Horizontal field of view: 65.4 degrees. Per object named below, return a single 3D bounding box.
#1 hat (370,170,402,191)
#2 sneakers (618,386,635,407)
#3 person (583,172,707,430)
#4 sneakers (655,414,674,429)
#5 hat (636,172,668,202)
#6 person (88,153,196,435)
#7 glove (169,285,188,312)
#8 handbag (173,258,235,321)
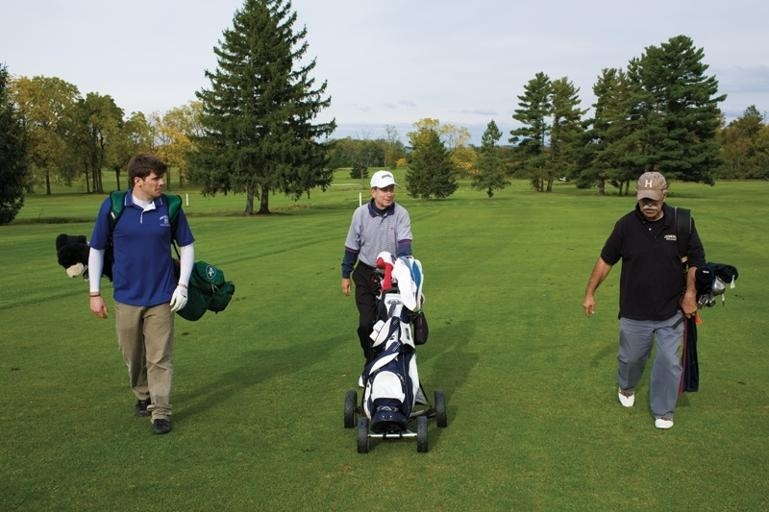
[{"bbox_3d":[-0.043,-0.967,7.566,0.245,0.196,0.331,-3,3,-17],"label":"hat"},{"bbox_3d":[3.035,1.772,7.541,0.130,0.254,0.101,0,-24,14],"label":"sneakers"},{"bbox_3d":[3.155,0.451,7.310,1.131,2.942,0.916,12,19,41],"label":"person"},{"bbox_3d":[3.319,1.947,7.081,0.289,0.118,0.156,-3,14,-9],"label":"sneakers"},{"bbox_3d":[3.153,-0.835,7.098,0.311,0.345,0.347,5,15,22],"label":"hat"},{"bbox_3d":[-2.893,0.398,7.233,1.201,3.201,0.962,-5,15,-15],"label":"person"},{"bbox_3d":[-2.479,0.508,7.247,0.105,0.294,0.214,16,11,-39],"label":"glove"},{"bbox_3d":[-2.336,0.430,7.848,0.738,0.697,0.739,2,18,-14],"label":"handbag"}]
